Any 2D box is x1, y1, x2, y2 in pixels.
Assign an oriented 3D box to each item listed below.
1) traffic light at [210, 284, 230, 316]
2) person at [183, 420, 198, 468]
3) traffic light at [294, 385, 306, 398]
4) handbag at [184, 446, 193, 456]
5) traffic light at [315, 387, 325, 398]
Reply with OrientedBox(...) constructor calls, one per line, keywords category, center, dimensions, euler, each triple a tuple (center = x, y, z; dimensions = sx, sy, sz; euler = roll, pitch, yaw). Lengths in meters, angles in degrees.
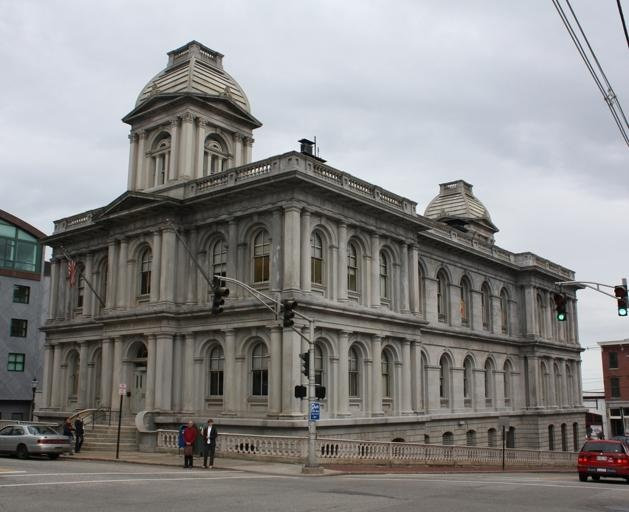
OrientedBox(category="traffic light", center=(-3.815, 1.725, 33.685), dimensions=(0.636, 1.314, 1.238), euler=(2, -16, -7))
OrientedBox(category="person", center=(-5.636, 8.440, 37.181), dimensions=(0.580, 2.053, 1.096), euler=(2, -16, -6))
OrientedBox(category="traffic light", center=(-0.589, 5.932, 36.380), dimensions=(0.472, 0.530, 0.570), euler=(-1, -16, 4))
OrientedBox(category="handbag", center=(-5.580, 8.619, 36.668), dimensions=(0.408, 0.375, 0.390), euler=(0, -8, -10))
OrientedBox(category="traffic light", center=(0.253, 5.922, 36.178), dimensions=(0.429, 0.535, 1.045), euler=(1, -15, -1))
